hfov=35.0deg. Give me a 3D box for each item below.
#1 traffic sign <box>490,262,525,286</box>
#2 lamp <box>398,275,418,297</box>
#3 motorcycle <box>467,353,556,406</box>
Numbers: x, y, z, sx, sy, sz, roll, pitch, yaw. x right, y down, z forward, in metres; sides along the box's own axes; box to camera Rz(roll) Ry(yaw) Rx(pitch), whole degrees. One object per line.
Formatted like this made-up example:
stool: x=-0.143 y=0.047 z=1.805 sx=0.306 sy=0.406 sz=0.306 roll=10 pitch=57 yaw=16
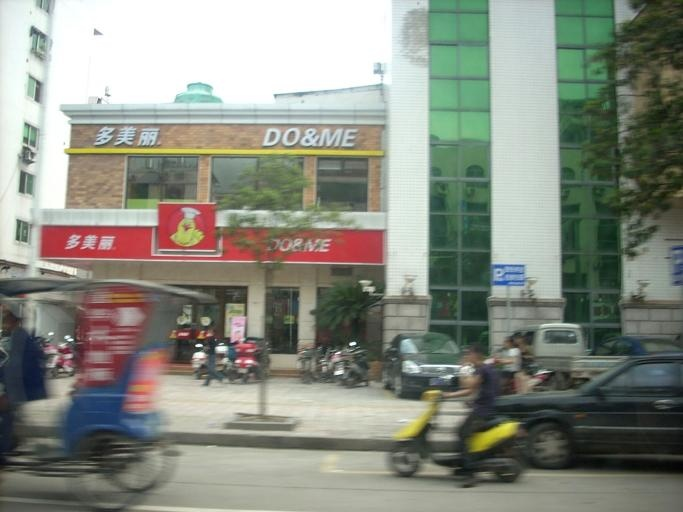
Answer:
traffic sign: x=5.236 y=0.561 z=33.911 sx=1.298 sy=0.519 sz=0.095 roll=0 pitch=-9 yaw=4
lamp: x=2.073 y=0.896 z=33.607 sx=0.442 sy=0.701 sz=0.150 roll=0 pitch=-9 yaw=2
motorcycle: x=4.960 y=2.966 z=26.813 sx=3.579 sy=1.155 sz=1.239 roll=2 pitch=-8 yaw=1
